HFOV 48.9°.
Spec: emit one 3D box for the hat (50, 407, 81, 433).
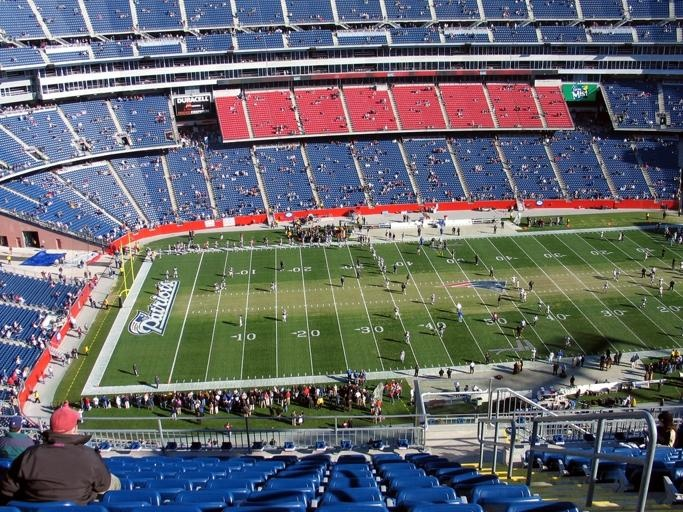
[{"bbox_3d":[-7.329,4.294,19.982,0.627,0.760,0.317,3,-54,-12],"label":"hat"}]
